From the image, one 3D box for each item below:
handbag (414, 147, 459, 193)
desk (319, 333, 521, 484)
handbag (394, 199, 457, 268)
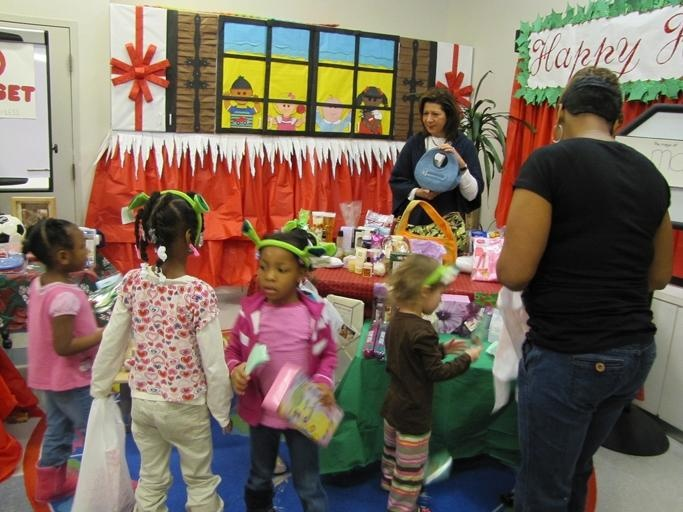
[{"bbox_3d":[0.597,-0.525,3.216,0.267,0.277,0.157,4,12,12],"label":"handbag"},{"bbox_3d":[0.433,0.835,2.853,1.073,0.471,1.079,13,-14,-26],"label":"desk"},{"bbox_3d":[0.471,-0.124,2.849,0.335,0.332,0.157,10,36,22],"label":"handbag"}]
